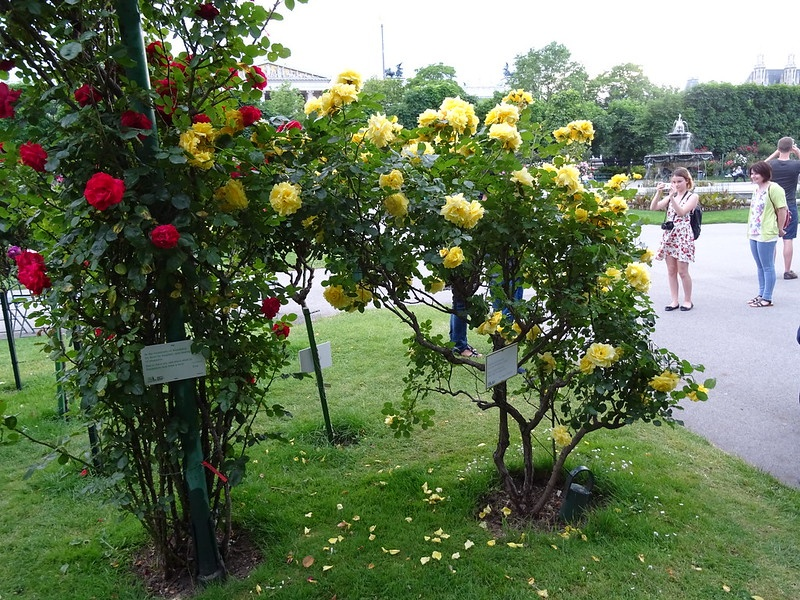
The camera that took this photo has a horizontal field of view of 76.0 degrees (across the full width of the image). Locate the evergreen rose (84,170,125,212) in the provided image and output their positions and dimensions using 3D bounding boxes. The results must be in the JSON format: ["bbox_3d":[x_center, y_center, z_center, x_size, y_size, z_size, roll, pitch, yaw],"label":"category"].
[{"bbox_3d":[-1.291,-0.481,2.267,0.125,0.164,0.144,-2,5,28],"label":"evergreen rose"}]

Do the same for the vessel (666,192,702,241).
[{"bbox_3d":[4.186,-1.247,7.638,0.364,0.682,0.472,-5,32,-4],"label":"vessel"}]

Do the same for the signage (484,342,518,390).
[{"bbox_3d":[0.610,0.411,3.135,0.166,0.267,0.327,-2,4,21],"label":"signage"}]

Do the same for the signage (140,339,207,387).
[{"bbox_3d":[-1.181,0.316,2.665,0.304,0.204,0.006,-7,0,-43],"label":"signage"}]

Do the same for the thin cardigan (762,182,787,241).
[{"bbox_3d":[5.630,-1.349,7.749,0.278,0.887,0.313,-1,6,36],"label":"thin cardigan"}]

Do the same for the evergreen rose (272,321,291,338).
[{"bbox_3d":[-0.760,0.182,3.298,0.115,0.050,0.120,11,11,33],"label":"evergreen rose"}]

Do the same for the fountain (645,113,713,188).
[{"bbox_3d":[17.723,-9.655,32.679,3.806,3.618,3.817,-5,10,-5],"label":"fountain"}]

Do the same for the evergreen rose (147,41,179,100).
[{"bbox_3d":[-1.200,-1.175,2.581,0.131,0.326,0.306,-6,5,-24],"label":"evergreen rose"}]

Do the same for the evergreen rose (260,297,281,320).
[{"bbox_3d":[-0.777,0.053,3.045,0.123,0.118,0.062,-3,27,-39],"label":"evergreen rose"}]

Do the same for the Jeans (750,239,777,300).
[{"bbox_3d":[5.616,-0.467,7.975,0.290,0.946,0.662,-1,5,34],"label":"Jeans"}]

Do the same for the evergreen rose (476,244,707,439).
[{"bbox_3d":[1.128,0.311,3.201,0.922,1.391,1.112,-6,5,-24],"label":"evergreen rose"}]

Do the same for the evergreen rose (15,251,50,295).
[{"bbox_3d":[-1.865,-0.144,2.612,0.133,0.232,0.227,-7,5,-36],"label":"evergreen rose"}]
